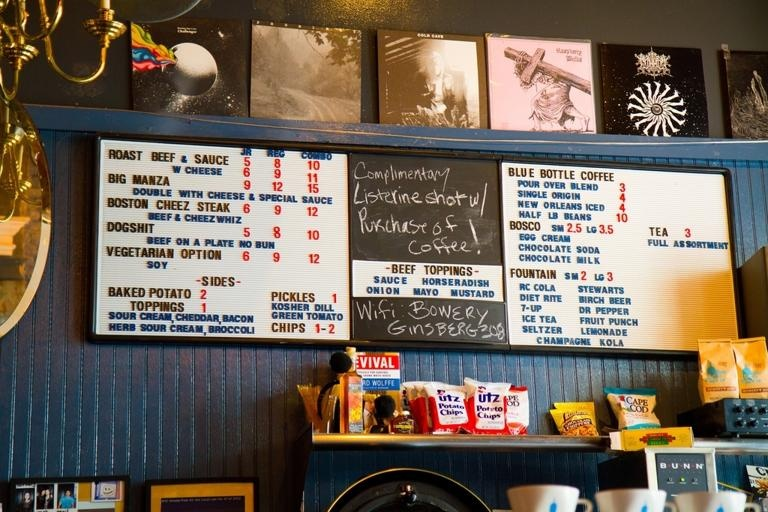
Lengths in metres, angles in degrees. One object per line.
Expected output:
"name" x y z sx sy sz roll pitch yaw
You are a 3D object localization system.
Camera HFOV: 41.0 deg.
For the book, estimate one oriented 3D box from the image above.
"book" -0.075 0.694 5.038 0.324 0.447 0.046 11 -27 -25
